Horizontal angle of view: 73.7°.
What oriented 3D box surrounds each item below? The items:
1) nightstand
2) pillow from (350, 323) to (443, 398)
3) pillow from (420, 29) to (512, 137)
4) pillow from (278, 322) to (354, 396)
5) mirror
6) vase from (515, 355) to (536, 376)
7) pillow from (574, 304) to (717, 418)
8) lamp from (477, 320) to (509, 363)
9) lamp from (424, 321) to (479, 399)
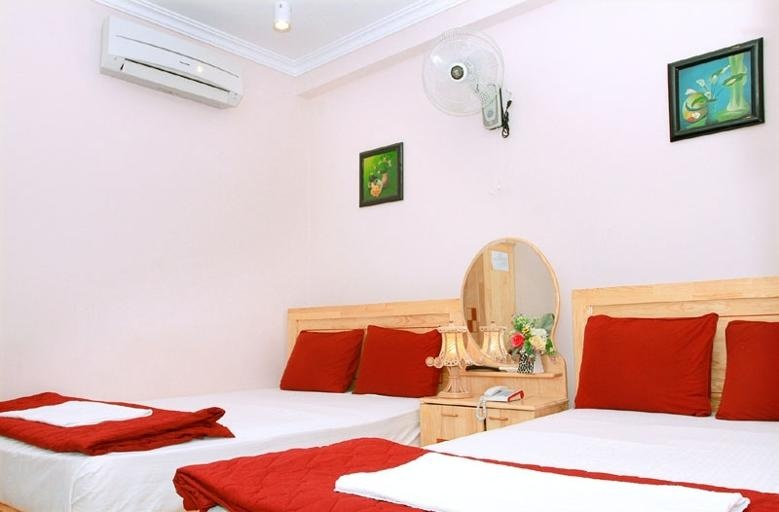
[{"bbox_3d":[0.687,0.719,3.570,0.553,1.515,0.924,0,-5,-40],"label":"nightstand"},{"bbox_3d":[0.072,0.820,3.971,0.743,0.538,0.285,-3,-4,34],"label":"pillow"},{"bbox_3d":[0.634,-1.173,3.759,0.487,0.543,0.401,-14,27,-26],"label":"pillow"},{"bbox_3d":[-0.581,0.888,4.355,0.717,0.494,0.331,-9,-9,36],"label":"pillow"},{"bbox_3d":[0.876,0.346,3.692,0.876,0.974,0.040,2,0,40],"label":"mirror"},{"bbox_3d":[0.934,0.755,3.579,0.126,0.134,0.122,4,-4,-22],"label":"vase"},{"bbox_3d":[1.501,0.634,3.083,0.284,0.550,0.729,0,-5,-44],"label":"pillow"},{"bbox_3d":[0.762,0.615,3.801,0.274,0.277,0.250,-1,3,21],"label":"lamp"},{"bbox_3d":[0.473,0.744,3.738,0.399,0.532,0.392,-5,-3,2],"label":"lamp"}]
